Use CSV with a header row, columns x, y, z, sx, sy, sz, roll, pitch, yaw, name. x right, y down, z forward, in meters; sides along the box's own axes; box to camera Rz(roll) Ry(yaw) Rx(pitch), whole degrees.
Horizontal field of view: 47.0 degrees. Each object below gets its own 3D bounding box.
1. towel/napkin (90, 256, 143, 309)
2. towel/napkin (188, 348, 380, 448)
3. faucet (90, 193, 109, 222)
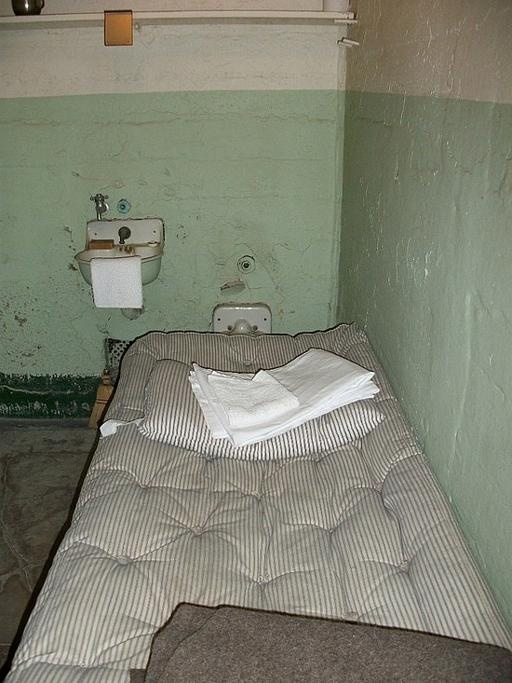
x,y,z,sx,sy,sz,roll,pitch,yaw,name
-0.539,-0.229,2.281,0.196,0.197,0.062,-4,26,-10,towel/napkin
0.076,0.149,1.589,0.319,0.072,0.319,-15,29,-15,towel/napkin
-0.655,-0.570,2.482,0.067,0.104,0.070,-13,29,-26,faucet
